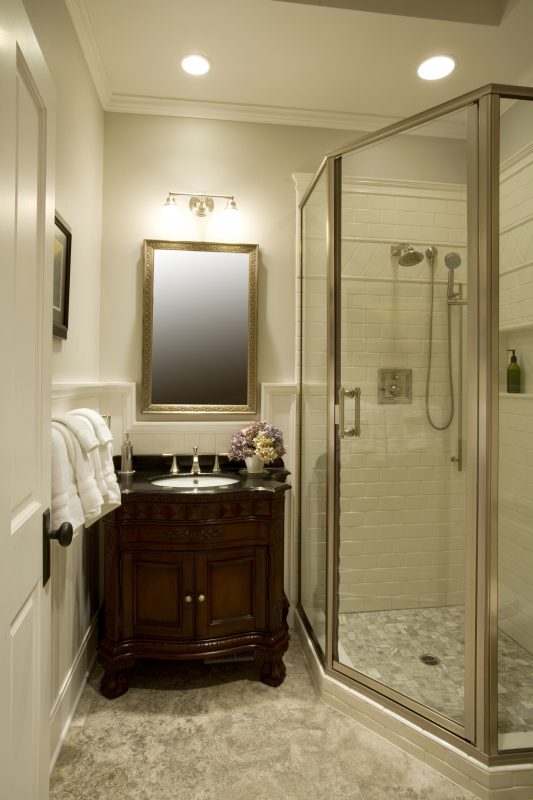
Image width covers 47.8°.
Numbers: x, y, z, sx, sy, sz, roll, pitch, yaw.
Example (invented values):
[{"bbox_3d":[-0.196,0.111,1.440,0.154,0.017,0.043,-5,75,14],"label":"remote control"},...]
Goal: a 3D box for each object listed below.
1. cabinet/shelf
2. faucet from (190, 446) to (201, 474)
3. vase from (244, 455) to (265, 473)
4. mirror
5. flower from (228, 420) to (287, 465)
[{"bbox_3d":[-0.191,0.583,2.528,0.962,1.023,0.625,0,-2,-6],"label":"cabinet/shelf"},{"bbox_3d":[-0.314,0.263,2.659,0.045,0.123,0.178,-1,5,-7],"label":"faucet"},{"bbox_3d":[-0.052,0.274,2.556,0.078,0.086,0.089,0,5,-3],"label":"vase"},{"bbox_3d":[-0.328,-0.350,2.749,0.699,1.133,0.047,0,2,-6],"label":"mirror"},{"bbox_3d":[-0.041,0.185,2.525,0.172,0.165,0.186,0,-3,4],"label":"flower"}]
